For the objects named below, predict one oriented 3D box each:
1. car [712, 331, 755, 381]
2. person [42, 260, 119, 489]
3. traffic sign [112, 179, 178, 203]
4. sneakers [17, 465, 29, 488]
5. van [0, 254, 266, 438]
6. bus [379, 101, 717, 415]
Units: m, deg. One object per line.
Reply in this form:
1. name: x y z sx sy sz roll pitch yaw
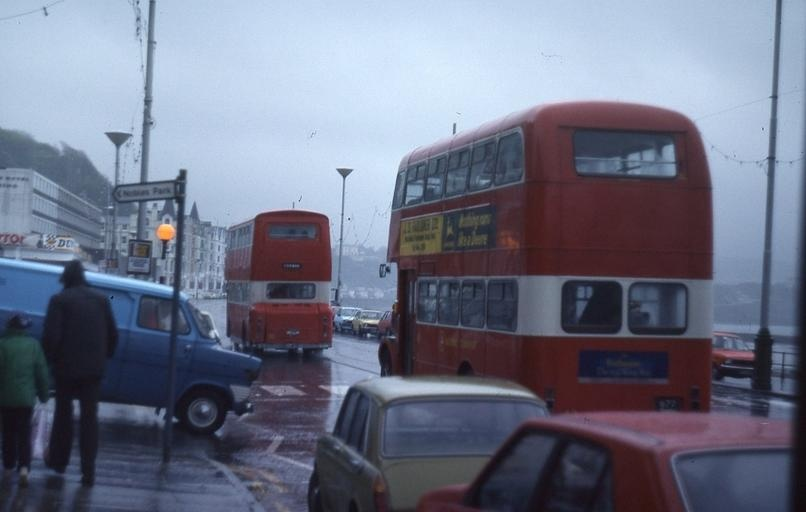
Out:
1. car: 12.866 3.983 29.744 1.402 1.781 1.707 2 -2 20
2. person: -4.379 1.592 10.321 0.930 3.020 0.529 3 -1 -18
3. traffic sign: -4.051 -1.022 12.025 1.149 0.343 0.556 2 -2 28
4. sneakers: -4.956 2.878 9.977 0.093 0.307 0.123 2 -13 -14
5. van: -5.455 1.780 14.821 5.063 2.532 2.583 5 -3 -21
6. bus: 2.331 -0.038 14.342 2.615 5.275 6.217 3 -2 -37
